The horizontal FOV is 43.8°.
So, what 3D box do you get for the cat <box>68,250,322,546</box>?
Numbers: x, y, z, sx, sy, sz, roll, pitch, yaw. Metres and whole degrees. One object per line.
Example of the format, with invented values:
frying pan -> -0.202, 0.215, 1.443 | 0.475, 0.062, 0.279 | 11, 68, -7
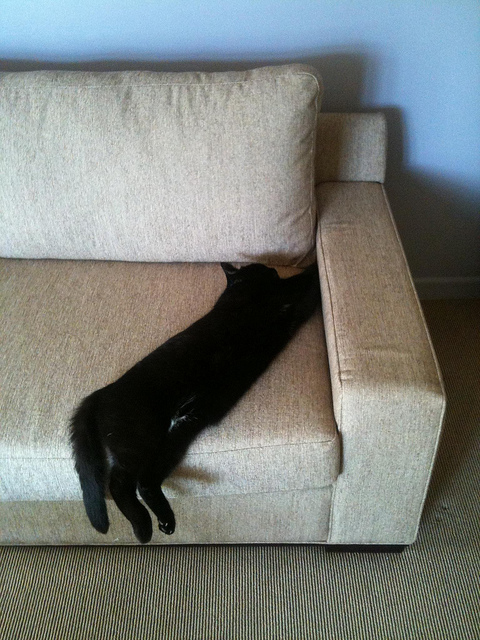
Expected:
cat -> -0.070, 0.155, 1.320 | 0.296, 0.291, 0.685 | 17, 40, 28
